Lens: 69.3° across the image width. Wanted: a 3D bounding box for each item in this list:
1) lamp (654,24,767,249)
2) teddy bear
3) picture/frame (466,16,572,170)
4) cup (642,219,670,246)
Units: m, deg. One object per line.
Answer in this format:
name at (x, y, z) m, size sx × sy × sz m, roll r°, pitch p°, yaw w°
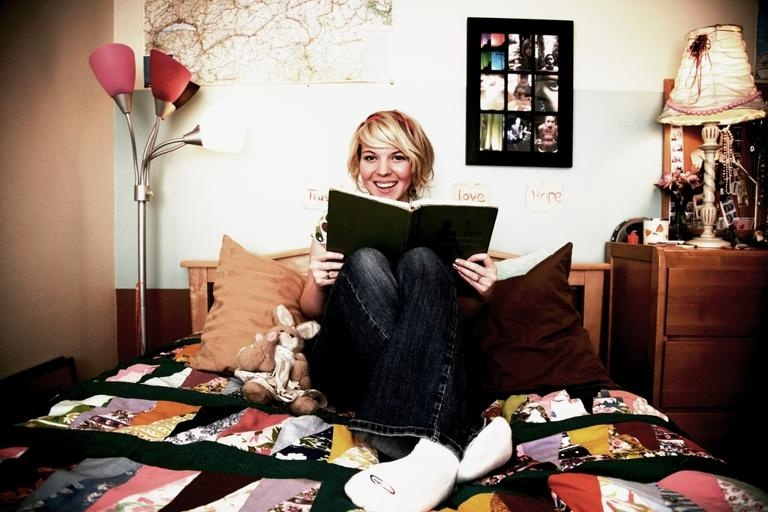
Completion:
lamp at (1.487, -0.540, 2.554) m, size 0.357 × 0.974 × 0.404 m, roll -5°, pitch 9°, yaw -42°
teddy bear at (-0.391, 0.378, 2.123) m, size 0.340 × 0.382 × 0.294 m, roll 23°, pitch -16°, yaw -26°
picture/frame at (0.650, -0.838, 2.715) m, size 0.762 × 0.894 × 0.044 m, roll 0°, pitch 0°, yaw -1°
cup at (1.261, -0.106, 2.583) m, size 0.126 × 0.134 × 0.122 m, roll 2°, pitch 0°, yaw 0°
